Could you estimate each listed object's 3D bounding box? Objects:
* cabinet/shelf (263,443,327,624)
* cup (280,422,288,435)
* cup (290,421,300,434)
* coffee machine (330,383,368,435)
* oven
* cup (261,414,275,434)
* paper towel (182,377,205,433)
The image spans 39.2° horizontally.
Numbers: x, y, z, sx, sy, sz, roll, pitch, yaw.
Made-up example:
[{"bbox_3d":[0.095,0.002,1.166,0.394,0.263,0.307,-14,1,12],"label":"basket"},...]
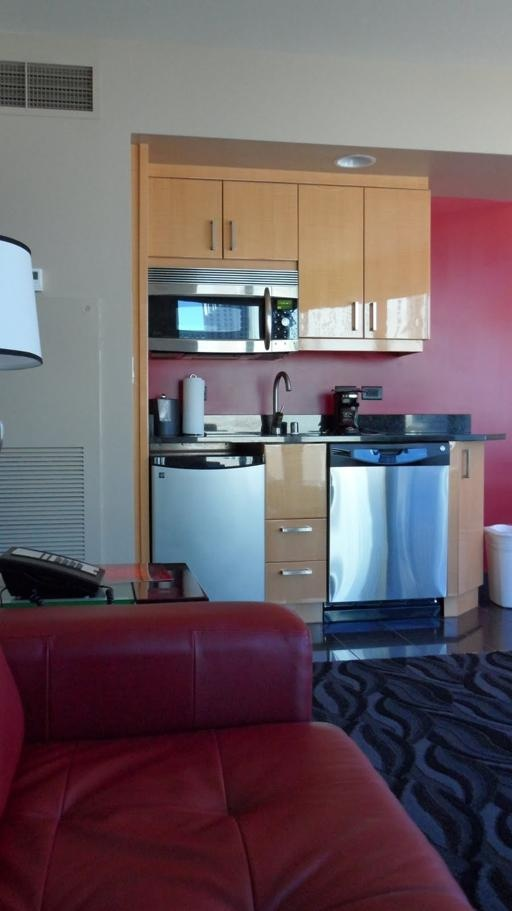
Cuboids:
[{"bbox_3d":[0.172,0.303,3.197,0.284,0.707,0.088,0,4,-2],"label":"cabinet/shelf"},{"bbox_3d":[0.140,-0.142,3.757,0.045,0.101,0.052,1,3,2],"label":"cup"},{"bbox_3d":[0.199,-0.144,3.769,0.051,0.085,0.059,2,-2,5],"label":"cup"},{"bbox_3d":[0.454,-0.230,3.676,0.121,0.235,0.173,0,5,4],"label":"coffee machine"},{"bbox_3d":[0.621,0.180,3.511,0.566,0.814,0.601,-4,24,1],"label":"oven"},{"bbox_3d":[0.049,-0.170,3.788,0.082,0.165,0.084,1,1,0],"label":"cup"},{"bbox_3d":[-0.305,-0.232,3.407,0.101,0.273,0.241,-1,5,-7],"label":"paper towel"}]
